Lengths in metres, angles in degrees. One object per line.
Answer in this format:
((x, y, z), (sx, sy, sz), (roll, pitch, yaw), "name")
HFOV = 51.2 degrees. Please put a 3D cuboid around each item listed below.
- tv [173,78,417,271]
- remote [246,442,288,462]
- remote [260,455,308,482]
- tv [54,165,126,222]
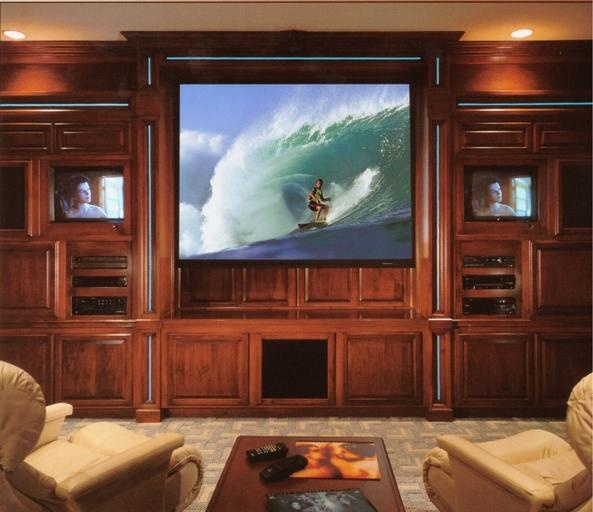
((0.022, -0.774, 5.426), (2.051, 1.219, 0.032), (0, 1, 4), "tv")
((-0.190, 1.204, 3.830), (0.222, 0.059, 0.104), (-1, 3, -17), "remote")
((-0.079, 1.261, 3.699), (0.268, 0.058, 0.117), (-9, 15, -34), "remote")
((-1.790, -0.554, 5.363), (0.602, 0.361, 0.025), (0, -2, -2), "tv")
